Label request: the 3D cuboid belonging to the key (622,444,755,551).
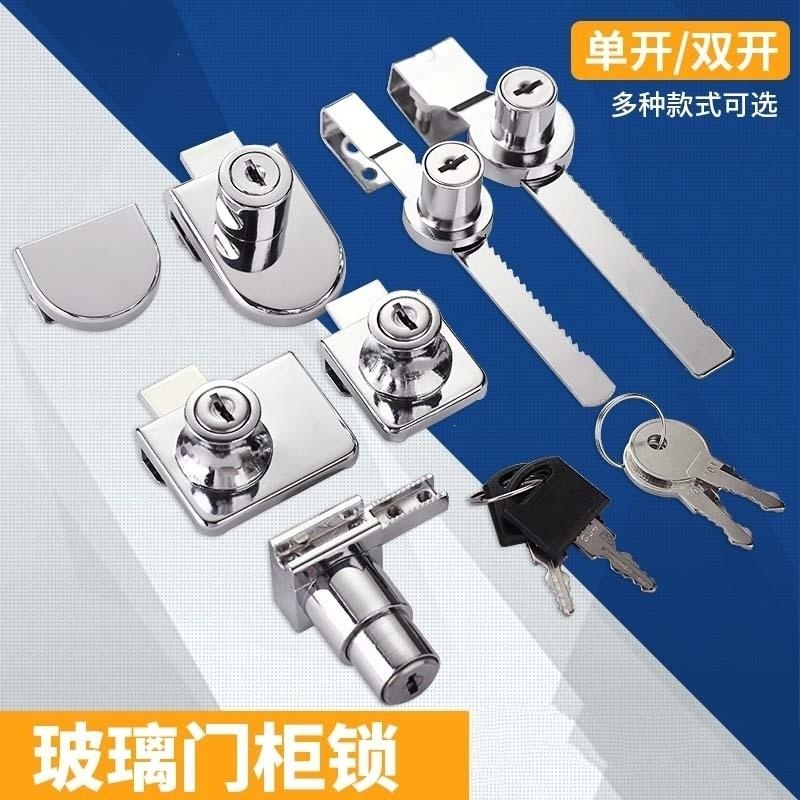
[{"bbox_3d":[0.581,0.169,1.787,0.294,0.042,0.180,42,55,13],"label":"key"}]
